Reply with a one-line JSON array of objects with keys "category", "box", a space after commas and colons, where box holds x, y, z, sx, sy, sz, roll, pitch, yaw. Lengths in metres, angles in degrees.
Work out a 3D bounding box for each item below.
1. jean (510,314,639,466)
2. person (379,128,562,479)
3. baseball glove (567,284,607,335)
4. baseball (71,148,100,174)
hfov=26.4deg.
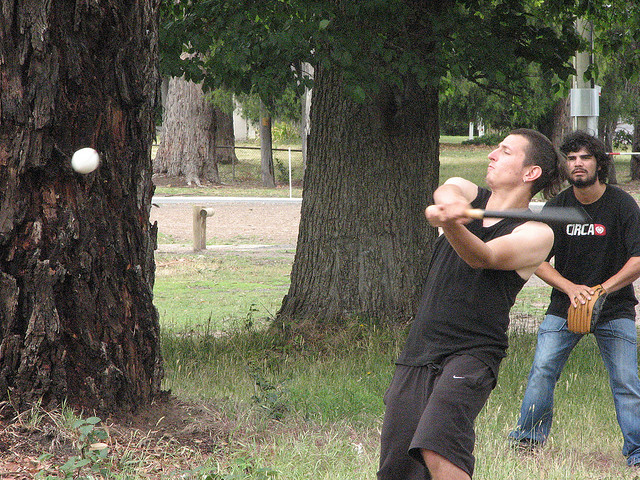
[{"category": "jean", "box": [2.335, 1.412, 12.429, 1.090, 1.161, 0.450, 5, -8, 24]}, {"category": "person", "box": [1.124, 0.500, 10.372, 1.277, 2.713, 0.875, 1, 6, -4]}, {"category": "baseball glove", "box": [2.308, 0.629, 11.899, 0.180, 0.441, 0.276, 18, -11, -37]}, {"category": "baseball", "box": [-1.863, -0.642, 10.851, 0.214, 0.199, 0.173, 0, 6, -18]}]
